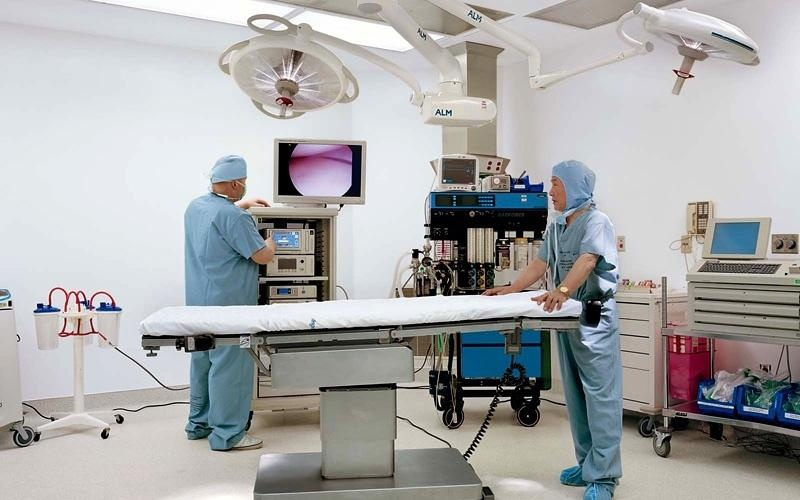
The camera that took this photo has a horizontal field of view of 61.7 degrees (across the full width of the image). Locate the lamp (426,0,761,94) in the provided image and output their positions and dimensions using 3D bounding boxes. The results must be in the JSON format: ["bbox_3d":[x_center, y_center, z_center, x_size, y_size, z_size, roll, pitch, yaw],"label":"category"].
[{"bbox_3d":[1.403,-1.265,4.388,1.373,0.441,1.015,21,4,28],"label":"lamp"}]

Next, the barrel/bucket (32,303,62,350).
[{"bbox_3d":[-2.871,0.637,5.517,0.188,0.399,0.291,-3,5,-28],"label":"barrel/bucket"}]

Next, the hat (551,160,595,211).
[{"bbox_3d":[1.091,-0.455,4.648,0.356,0.350,0.276,1,9,-9],"label":"hat"}]

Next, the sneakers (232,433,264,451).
[{"bbox_3d":[-1.169,1.492,5.200,0.238,0.093,0.098,-1,-1,-17],"label":"sneakers"}]

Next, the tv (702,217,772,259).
[{"bbox_3d":[2.513,-0.087,5.021,0.322,0.251,0.123,4,-31,40],"label":"tv"}]

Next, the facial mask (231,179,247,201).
[{"bbox_3d":[-1.257,-0.465,5.252,0.144,0.155,0.131,-9,-1,0],"label":"facial mask"}]

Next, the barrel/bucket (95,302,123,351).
[{"bbox_3d":[-2.437,0.642,5.646,0.187,0.397,0.220,-2,5,-24],"label":"barrel/bucket"}]

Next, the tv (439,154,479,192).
[{"bbox_3d":[0.471,-0.626,5.874,0.440,0.360,0.287,1,1,-2],"label":"tv"}]

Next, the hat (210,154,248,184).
[{"bbox_3d":[-1.302,-0.635,5.238,0.284,0.178,0.192,-13,16,-26],"label":"hat"}]

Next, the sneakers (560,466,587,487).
[{"bbox_3d":[1.196,1.571,4.643,0.163,0.054,0.120,0,4,-5],"label":"sneakers"}]

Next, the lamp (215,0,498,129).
[{"bbox_3d":[-0.261,-1.093,4.236,1.335,0.690,0.846,3,-14,-15],"label":"lamp"}]

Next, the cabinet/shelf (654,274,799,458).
[{"bbox_3d":[2.428,0.884,5.194,0.863,1.325,0.772,2,5,20],"label":"cabinet/shelf"}]
